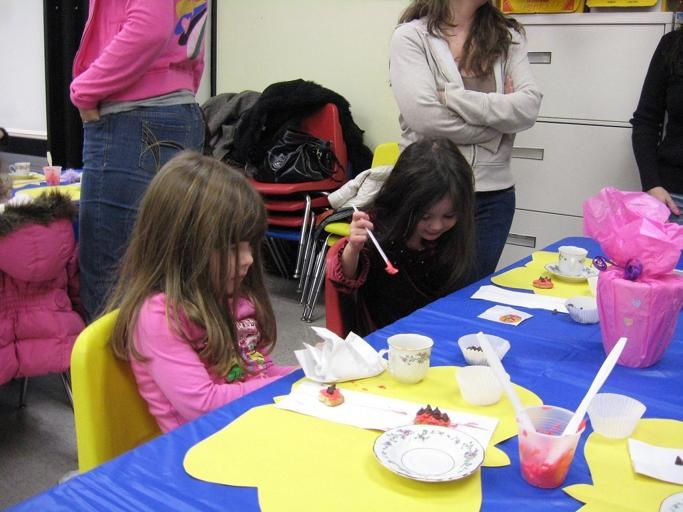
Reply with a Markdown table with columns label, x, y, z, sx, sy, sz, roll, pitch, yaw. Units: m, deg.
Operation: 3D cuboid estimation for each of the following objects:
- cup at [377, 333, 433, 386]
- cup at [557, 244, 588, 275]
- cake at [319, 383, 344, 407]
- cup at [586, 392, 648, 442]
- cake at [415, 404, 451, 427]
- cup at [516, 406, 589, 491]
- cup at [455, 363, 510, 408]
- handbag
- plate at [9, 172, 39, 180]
| label | x | y | z | sx | sy | sz | roll | pitch | yaw |
| --- | --- | --- | --- | --- | --- | --- | --- | --- | --- |
| cup | 0.129 | 0.203 | 1.102 | 0.088 | 0.074 | 0.082 | -1 | 23 | 1 |
| cup | 0.746 | 0.010 | 1.757 | 0.078 | 0.081 | 0.100 | 4 | 6 | 30 |
| cake | -0.019 | 0.263 | 1.020 | 0.033 | 0.023 | 0.033 | -9 | 20 | -39 |
| cup | 0.508 | 0.279 | 0.996 | 0.080 | 0.059 | 0.129 | 14 | 21 | 38 |
| cake | 0.161 | 0.285 | 0.964 | 0.038 | 0.020 | 0.039 | -5 | 10 | -32 |
| cup | 0.325 | 0.298 | 0.894 | 0.104 | 0.094 | 0.115 | -2 | 22 | -13 |
| cup | 0.259 | 0.247 | 1.029 | 0.073 | 0.043 | 0.076 | 0 | 16 | 0 |
| handbag | -0.275 | -0.577 | 3.173 | 0.382 | 0.310 | 0.150 | 3 | -6 | 2 |
| plate | -1.746 | -0.434 | 3.002 | 0.087 | 0.022 | 0.097 | 1 | 4 | 8 |
